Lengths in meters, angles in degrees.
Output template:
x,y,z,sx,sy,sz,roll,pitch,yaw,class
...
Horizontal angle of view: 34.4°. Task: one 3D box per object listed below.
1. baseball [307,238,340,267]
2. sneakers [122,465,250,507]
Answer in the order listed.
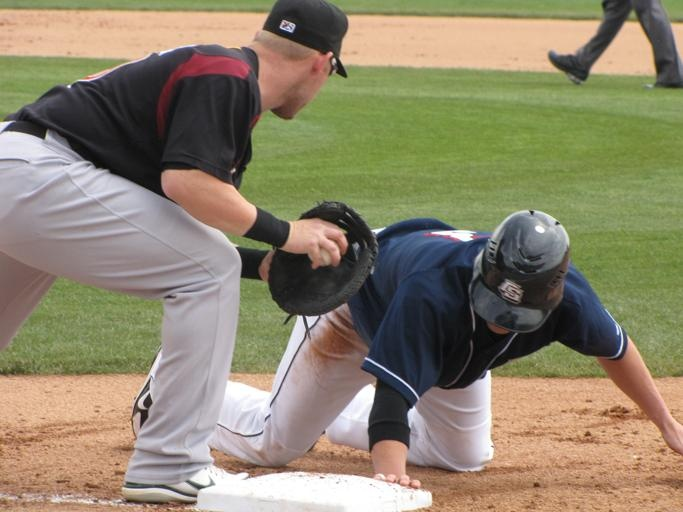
x,y,z,sx,sy,sz,roll,pitch,yaw,class
-0.097,-0.039,5.781,0.148,0.145,0.256,-3,9,3,baseball
-0.843,1.155,5.674,0.723,0.255,0.223,-1,5,-16,sneakers
